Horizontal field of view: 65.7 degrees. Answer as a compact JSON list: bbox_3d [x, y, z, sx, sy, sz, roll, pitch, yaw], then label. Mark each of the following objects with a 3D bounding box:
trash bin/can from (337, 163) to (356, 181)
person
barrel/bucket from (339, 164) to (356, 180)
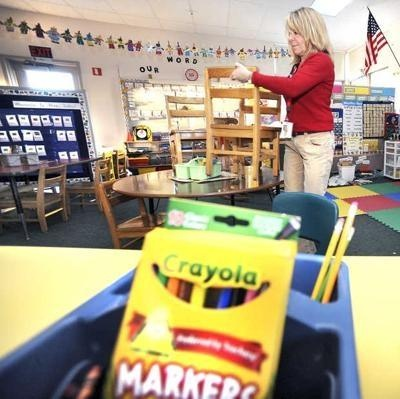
[{"bbox_3d":[2.138,-0.400,4.527,0.261,0.402,0.257,2,6,24],"label":"trash bin/can"},{"bbox_3d":[0.464,-0.456,1.582,0.377,0.937,0.566,7,20,39],"label":"person"},{"bbox_3d":[2.100,-0.400,4.500,0.222,0.331,0.241,0,4,0],"label":"barrel/bucket"}]
